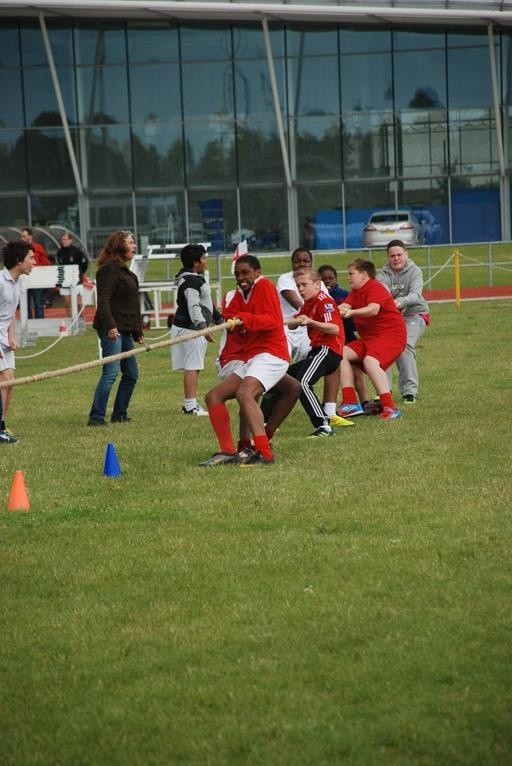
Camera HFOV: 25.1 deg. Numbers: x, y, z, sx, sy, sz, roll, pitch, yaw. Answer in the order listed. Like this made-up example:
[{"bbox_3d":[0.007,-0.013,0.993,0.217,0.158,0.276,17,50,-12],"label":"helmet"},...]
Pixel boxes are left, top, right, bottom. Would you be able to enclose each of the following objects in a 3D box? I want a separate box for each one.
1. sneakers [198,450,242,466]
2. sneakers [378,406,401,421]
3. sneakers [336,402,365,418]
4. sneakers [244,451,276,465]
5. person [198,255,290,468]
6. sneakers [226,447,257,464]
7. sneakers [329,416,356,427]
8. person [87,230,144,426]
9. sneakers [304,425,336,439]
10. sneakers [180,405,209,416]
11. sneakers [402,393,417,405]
[{"bbox_3d":[-0.233,0.492,7.384,0.271,0.095,0.092,-7,-5,-11],"label":"sneakers"},{"bbox_3d":[1.040,0.251,9.089,0.073,0.086,0.204,-5,-4,16],"label":"sneakers"},{"bbox_3d":[0.749,0.228,9.402,0.251,0.096,0.083,-2,-2,-20],"label":"sneakers"},{"bbox_3d":[0.012,0.485,7.301,0.200,0.069,0.068,3,2,-5],"label":"sneakers"},{"bbox_3d":[-0.065,-0.169,7.565,0.633,1.327,0.751,-4,6,2],"label":"person"},{"bbox_3d":[-0.079,0.478,7.421,0.078,0.082,0.208,-18,-11,18],"label":"sneakers"},{"bbox_3d":[0.671,0.299,8.959,0.247,0.085,0.072,2,14,11],"label":"sneakers"},{"bbox_3d":[-1.193,-0.449,9.466,0.496,1.563,0.851,-5,6,-5],"label":"person"},{"bbox_3d":[0.458,0.367,8.389,0.222,0.083,0.076,-2,2,9],"label":"sneakers"},{"bbox_3d":[-0.554,0.246,9.951,0.292,0.109,0.096,-1,2,21],"label":"sneakers"},{"bbox_3d":[1.302,0.146,9.915,0.092,0.084,0.216,0,5,11],"label":"sneakers"}]
